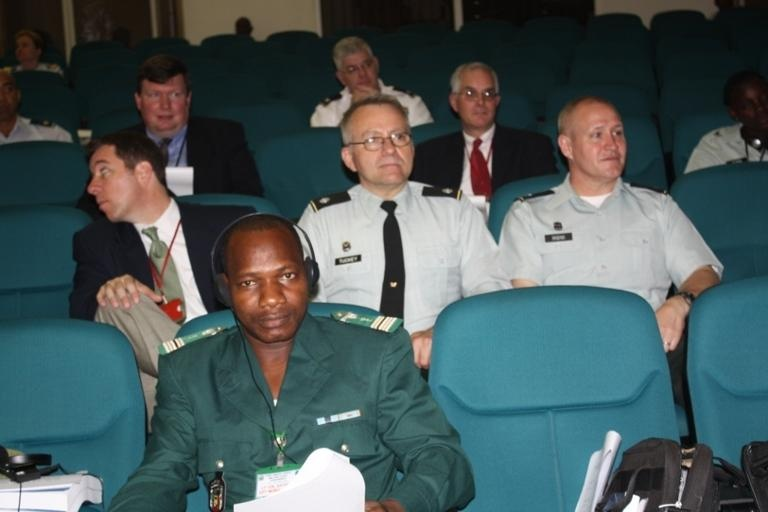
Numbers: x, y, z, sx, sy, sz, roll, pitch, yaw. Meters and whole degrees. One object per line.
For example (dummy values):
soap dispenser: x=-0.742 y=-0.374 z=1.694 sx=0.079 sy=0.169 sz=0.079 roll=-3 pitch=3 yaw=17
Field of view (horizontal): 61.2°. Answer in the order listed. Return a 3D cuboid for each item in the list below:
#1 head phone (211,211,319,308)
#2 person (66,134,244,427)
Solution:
head phone: x=-0.396 y=0.023 z=2.177 sx=0.457 sy=0.354 sz=0.173 roll=-7 pitch=0 yaw=-9
person: x=-1.129 y=0.116 z=3.057 sx=0.707 sy=1.328 sz=0.778 roll=-8 pitch=4 yaw=13
